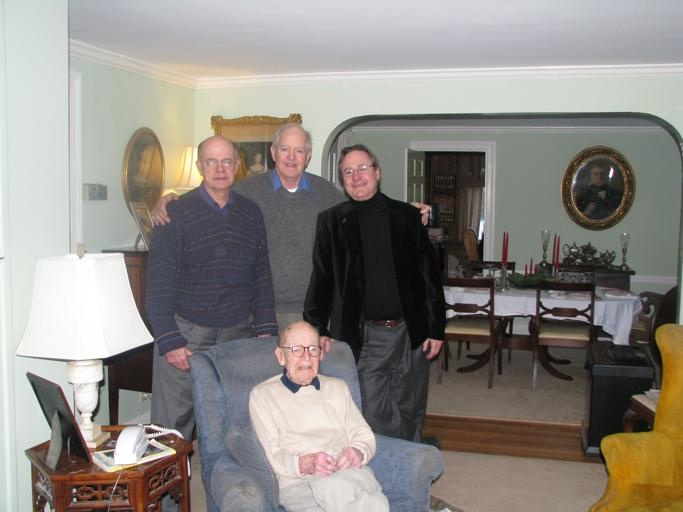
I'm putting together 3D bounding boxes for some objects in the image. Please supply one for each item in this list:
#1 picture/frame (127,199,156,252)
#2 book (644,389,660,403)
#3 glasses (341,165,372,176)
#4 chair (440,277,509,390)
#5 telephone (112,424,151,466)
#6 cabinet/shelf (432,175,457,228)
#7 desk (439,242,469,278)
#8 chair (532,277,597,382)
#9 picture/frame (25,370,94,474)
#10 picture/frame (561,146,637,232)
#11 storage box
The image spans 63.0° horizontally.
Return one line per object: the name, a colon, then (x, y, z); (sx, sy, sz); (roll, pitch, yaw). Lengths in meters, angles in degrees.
picture/frame: (-1.627, -0.276, 4.663); (0.026, 0.354, 0.345); (-21, 15, -39)
book: (1.937, 0.856, 3.473); (0.099, 0.034, 0.094); (-20, 21, -39)
glasses: (0.089, -0.505, 3.288); (0.190, 0.087, 0.083); (3, 7, 9)
chair: (1.342, 0.749, 5.822); (0.597, 1.087, 0.701); (1, 1, 23)
telephone: (-0.923, 0.821, 2.439); (0.090, 0.088, 0.167); (2, 38, 0)
cabinet/shelf: (2.041, -1.066, 11.201); (0.460, 1.087, 0.125); (0, 2, 10)
desk: (1.744, 0.069, 8.572); (0.540, 0.632, 0.525); (-2, 1, -12)
chair: (2.251, 0.762, 5.740); (0.605, 1.101, 0.904); (4, 8, 19)
picture/frame: (-1.266, 0.679, 2.456); (0.293, 0.305, 0.119); (-1, 8, 39)
picture/frame: (3.830, -1.025, 8.398); (0.966, 1.205, 0.188); (5, 8, 24)
storage box: (1.905, 1.006, 3.870); (0.377, 0.680, 0.704); (1, 5, 15)
